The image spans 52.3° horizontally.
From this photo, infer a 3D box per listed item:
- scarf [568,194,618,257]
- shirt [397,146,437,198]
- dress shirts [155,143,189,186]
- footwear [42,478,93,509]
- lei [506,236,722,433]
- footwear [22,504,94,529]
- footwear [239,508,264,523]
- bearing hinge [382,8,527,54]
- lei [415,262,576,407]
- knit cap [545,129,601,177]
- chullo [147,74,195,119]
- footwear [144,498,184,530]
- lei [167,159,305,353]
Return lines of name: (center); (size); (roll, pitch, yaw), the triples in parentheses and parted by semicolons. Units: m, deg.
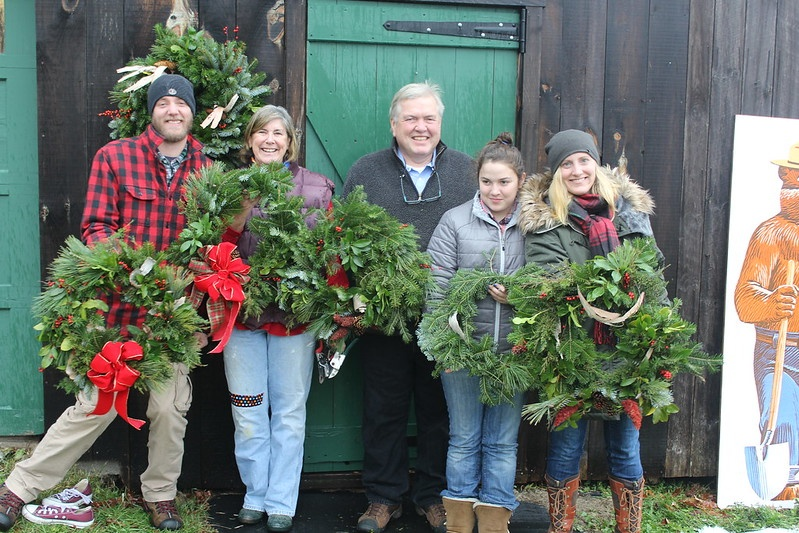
scarf: (1.207, -0.259, 5.059); (0.251, 0.434, 0.153); (-4, -45, 13)
shirt: (0.131, -0.635, 5.483); (0.240, 0.319, 0.164); (-1, -1, -5)
dress shirts: (-1.505, -0.666, 5.354); (0.161, 0.205, 0.079); (6, -17, -11)
footwear: (-2.147, 1.474, 5.296); (0.303, 0.114, 0.117); (2, 10, -43)
lei: (1.205, 0.417, 5.202); (1.222, 1.192, 0.606); (-2, -5, 5)
footwear: (-2.178, 1.599, 5.214); (0.413, 0.129, 0.158); (12, -1, -18)
footwear: (-0.989, 1.649, 5.414); (0.152, 0.057, 0.082); (0, 6, -25)
bearing hinge: (0.376, -1.716, 5.791); (1.223, 0.361, 0.136); (-8, 10, -31)
lei: (0.677, 0.434, 5.190); (0.876, 0.903, 0.393); (4, -1, 11)
knit cap: (1.042, -0.758, 5.230); (0.271, 0.208, 0.238); (-21, -7, 3)
chullo: (-1.488, -1.149, 5.284); (0.278, 0.209, 0.266); (2, -25, -11)
footwear: (-1.549, 1.623, 5.361); (0.119, 0.139, 0.311); (2, 2, -40)
lei: (-1.124, -0.064, 5.342); (1.012, 1.089, 0.411); (3, -4, 0)
